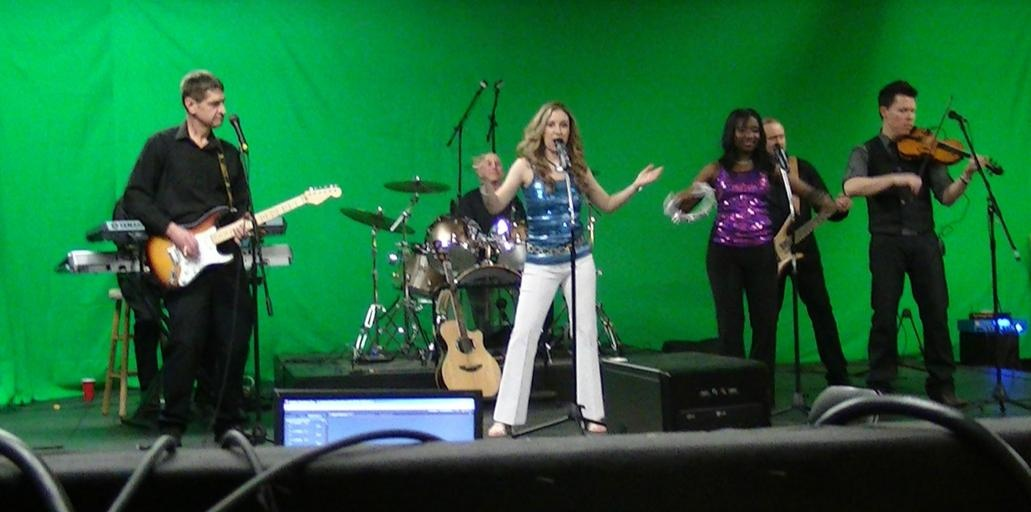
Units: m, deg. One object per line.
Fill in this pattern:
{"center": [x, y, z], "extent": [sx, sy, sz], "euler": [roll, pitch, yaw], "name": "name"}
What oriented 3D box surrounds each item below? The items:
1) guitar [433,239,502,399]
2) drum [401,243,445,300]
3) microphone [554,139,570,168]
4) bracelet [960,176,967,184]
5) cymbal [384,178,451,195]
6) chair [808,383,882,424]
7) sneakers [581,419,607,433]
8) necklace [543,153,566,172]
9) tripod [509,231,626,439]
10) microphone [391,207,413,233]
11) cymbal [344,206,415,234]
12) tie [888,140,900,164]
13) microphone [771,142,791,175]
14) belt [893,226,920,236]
{"center": [-0.548, 0.771, 9.911], "extent": [0.684, 1.590, 0.244], "euler": [-4, -25, -35], "name": "guitar"}
{"center": [-1.098, 0.183, 10.488], "extent": [0.653, 0.609, 0.518], "euler": [-4, -10, 17], "name": "drum"}
{"center": [0.489, -1.007, 8.816], "extent": [0.138, 0.325, 0.286], "euler": [-3, -8, 3], "name": "microphone"}
{"center": [4.892, -0.819, 9.452], "extent": [0.069, 0.020, 0.072], "euler": [-1, -22, 33], "name": "bracelet"}
{"center": [-1.221, -0.871, 10.943], "extent": [0.713, 0.219, 0.425], "euler": [4, -10, -38], "name": "cymbal"}
{"center": [2.271, 1.025, 6.048], "extent": [0.379, 0.275, 0.135], "euler": [-8, 29, 9], "name": "chair"}
{"center": [0.805, 1.713, 8.829], "extent": [0.286, 0.129, 0.143], "euler": [-1, -8, -9], "name": "sneakers"}
{"center": [0.421, -0.938, 8.848], "extent": [0.213, 0.150, 0.051], "euler": [23, 1, 9], "name": "necklace"}
{"center": [0.324, 0.694, 8.987], "extent": [1.294, 2.297, 0.523], "euler": [-2, -1, -9], "name": "tripod"}
{"center": [-1.440, -0.436, 10.933], "extent": [0.124, 0.144, 0.532], "euler": [42, -30, -1], "name": "microphone"}
{"center": [-1.725, -0.446, 10.943], "extent": [0.730, 0.346, 0.913], "euler": [-5, -8, 18], "name": "cymbal"}
{"center": [4.179, -1.133, 9.569], "extent": [0.132, 0.205, 0.054], "euler": [-10, 1, 12], "name": "tie"}
{"center": [2.927, -1.059, 9.578], "extent": [0.226, 0.152, 0.658], "euler": [0, 19, 3], "name": "microphone"}
{"center": [4.325, -0.255, 9.540], "extent": [0.211, 0.085, 0.043], "euler": [-1, -8, -4], "name": "belt"}
